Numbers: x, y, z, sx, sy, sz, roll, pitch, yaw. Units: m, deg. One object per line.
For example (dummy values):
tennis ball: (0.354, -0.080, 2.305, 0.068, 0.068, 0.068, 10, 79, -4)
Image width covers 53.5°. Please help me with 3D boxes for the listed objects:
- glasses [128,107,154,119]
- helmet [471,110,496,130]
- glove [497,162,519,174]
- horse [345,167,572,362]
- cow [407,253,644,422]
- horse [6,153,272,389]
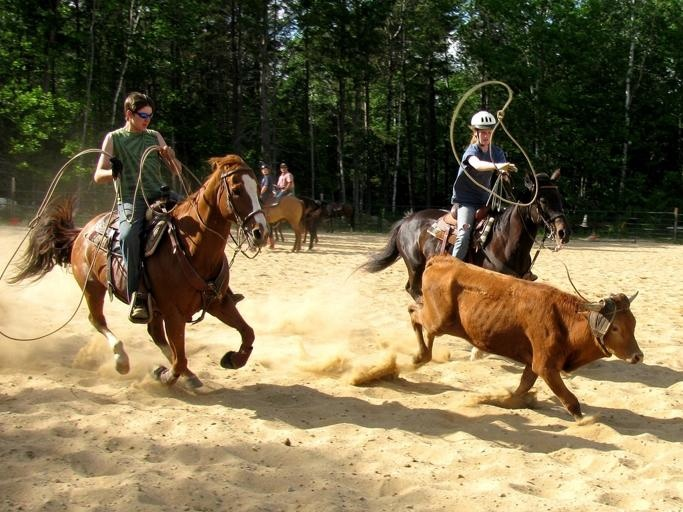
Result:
glasses: (-2.174, -1.570, 7.331, 0.132, 0.038, 0.141, -1, 23, -41)
helmet: (1.800, -1.737, 8.571, 0.278, 0.132, 0.307, -4, 6, -5)
glove: (2.020, -1.075, 8.207, 0.406, 0.140, 0.214, -1, 6, 18)
horse: (1.742, 0.052, 9.673, 0.976, 2.003, 3.814, -5, 3, -34)
cow: (1.935, 0.872, 7.243, 2.318, 1.420, 0.553, 13, 17, 36)
horse: (-2.356, 0.057, 7.846, 3.759, 2.630, 1.320, 8, 15, 18)
